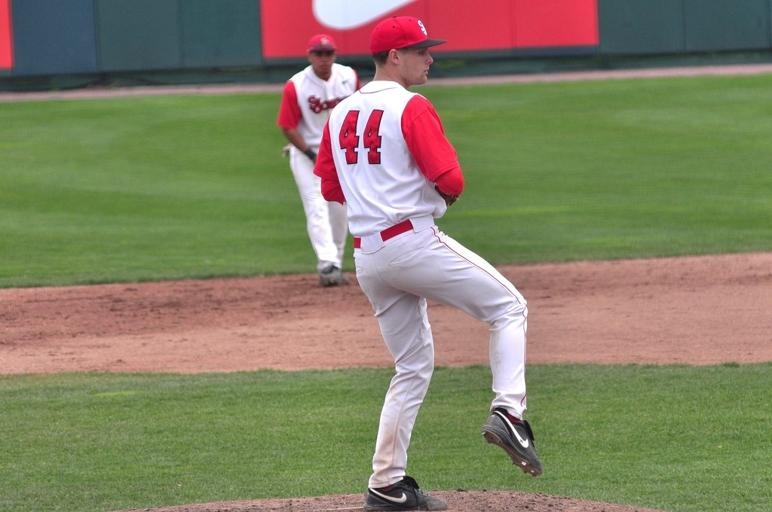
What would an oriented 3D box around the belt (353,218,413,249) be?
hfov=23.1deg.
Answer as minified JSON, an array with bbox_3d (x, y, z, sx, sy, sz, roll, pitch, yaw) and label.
[{"bbox_3d":[-0.038,-0.248,17.264,0.366,0.078,0.341,-17,-2,-44],"label":"belt"}]

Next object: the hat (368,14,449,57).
[{"bbox_3d":[0.183,-2.047,17.490,0.747,0.305,0.474,2,11,18],"label":"hat"}]
